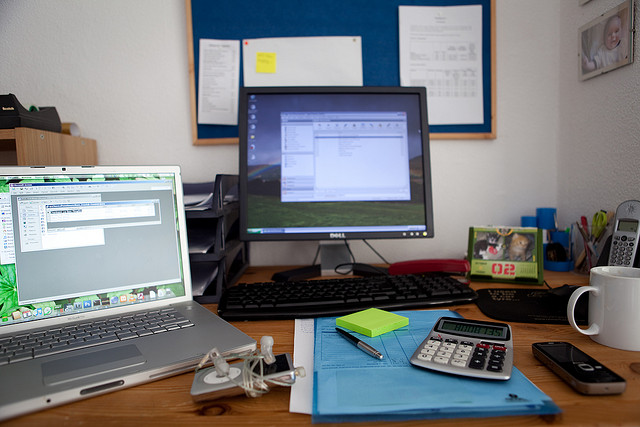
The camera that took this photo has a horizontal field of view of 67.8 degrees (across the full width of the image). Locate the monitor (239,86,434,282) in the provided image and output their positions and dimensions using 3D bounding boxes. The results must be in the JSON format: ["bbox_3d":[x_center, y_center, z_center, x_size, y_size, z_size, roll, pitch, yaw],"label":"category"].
[{"bbox_3d":[0.045,-0.162,1.517,0.614,0.494,0.090,-2,8,-2],"label":"monitor"}]

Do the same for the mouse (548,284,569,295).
[{"bbox_3d":[0.684,0.219,1.362,0.045,0.014,0.025,-12,31,12],"label":"mouse"}]
